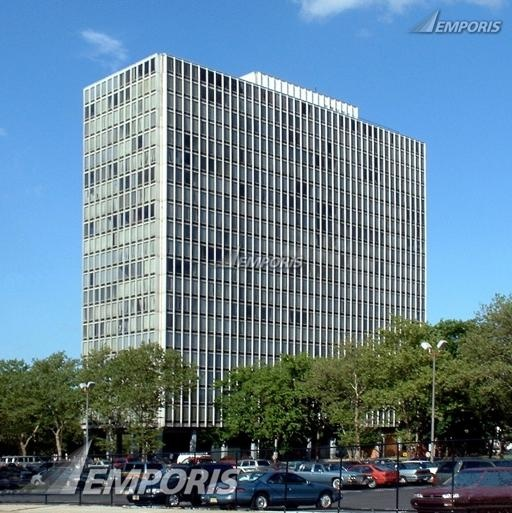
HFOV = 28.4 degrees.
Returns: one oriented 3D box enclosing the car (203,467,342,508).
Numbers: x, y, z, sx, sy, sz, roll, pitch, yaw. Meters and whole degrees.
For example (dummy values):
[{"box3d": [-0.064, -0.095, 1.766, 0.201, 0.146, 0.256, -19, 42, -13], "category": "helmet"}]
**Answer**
[{"box3d": [1.099, 12.055, 51.849, 5.862, 1.460, 2.557, -1, -6, -13], "category": "car"}]
